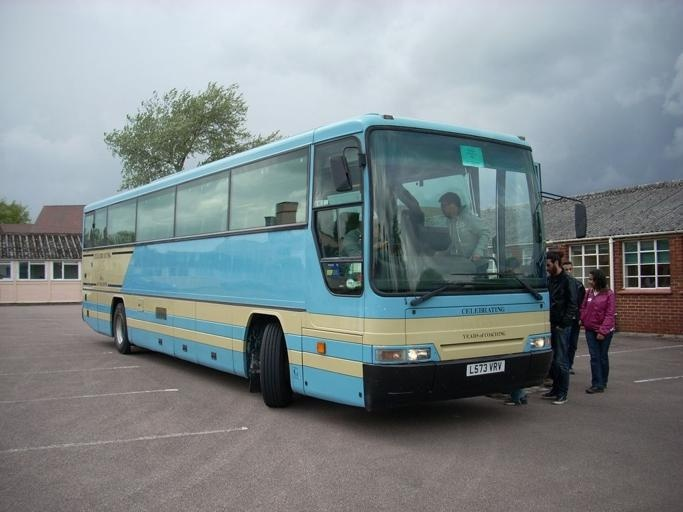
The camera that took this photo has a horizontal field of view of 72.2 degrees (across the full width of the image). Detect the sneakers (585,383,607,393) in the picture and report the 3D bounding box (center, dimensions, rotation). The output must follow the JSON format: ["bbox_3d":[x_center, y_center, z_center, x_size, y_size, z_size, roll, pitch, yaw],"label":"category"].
[{"bbox_3d":[4.759,2.495,8.871,0.469,0.221,0.165,7,-7,-20],"label":"sneakers"}]

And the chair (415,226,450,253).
[{"bbox_3d":[1.156,-0.181,6.013,0.336,0.270,0.355,-3,-4,41],"label":"chair"}]

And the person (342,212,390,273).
[{"bbox_3d":[0.180,-0.187,6.069,0.512,0.793,0.338,0,1,-2],"label":"person"}]

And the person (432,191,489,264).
[{"bbox_3d":[1.646,-0.409,6.315,0.767,0.953,0.236,-2,-1,-36],"label":"person"}]
